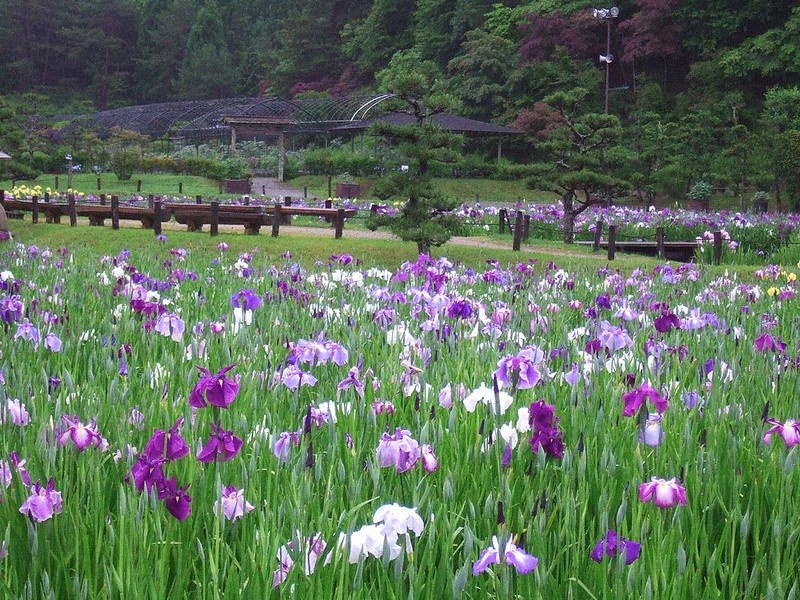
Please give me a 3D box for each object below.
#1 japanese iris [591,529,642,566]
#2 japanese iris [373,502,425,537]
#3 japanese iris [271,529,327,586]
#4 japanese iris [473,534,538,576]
[{"bbox_3d":[0.928,1.075,4.538,0.206,0.156,0.184,4,8,17],"label":"japanese iris"},{"bbox_3d":[-0.001,0.917,4.427,0.139,0.055,0.161,15,22,-29],"label":"japanese iris"},{"bbox_3d":[-0.417,1.093,4.454,0.223,0.238,0.170,1,7,-5],"label":"japanese iris"},{"bbox_3d":[0.430,1.040,4.371,0.229,0.200,0.257,-1,4,-15],"label":"japanese iris"}]
